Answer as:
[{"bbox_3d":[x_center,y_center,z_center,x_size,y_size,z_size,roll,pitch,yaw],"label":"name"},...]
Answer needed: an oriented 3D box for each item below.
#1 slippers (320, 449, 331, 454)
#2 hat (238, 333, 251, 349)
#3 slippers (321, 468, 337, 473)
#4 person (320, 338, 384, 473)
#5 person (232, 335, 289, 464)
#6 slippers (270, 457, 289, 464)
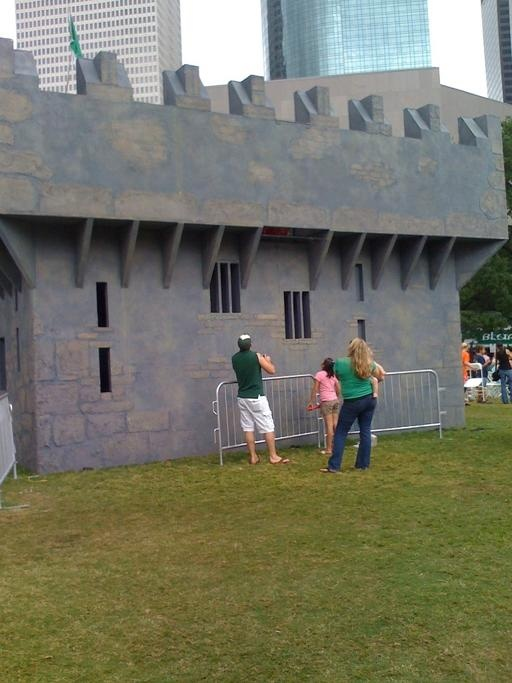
[{"bbox_3d":[1.122,1.773,13.496,0.117,0.051,0.067,4,-7,-9],"label":"slippers"},{"bbox_3d":[-0.172,0.009,12.416,0.163,0.213,0.216,4,20,8],"label":"hat"},{"bbox_3d":[1.003,1.787,11.599,0.201,0.056,0.076,6,0,14],"label":"slippers"},{"bbox_3d":[1.347,0.884,11.634,0.601,1.822,0.635,1,3,26],"label":"person"},{"bbox_3d":[0.004,0.855,12.484,0.706,1.900,0.403,-1,2,-2],"label":"person"},{"bbox_3d":[0.346,1.770,12.416,0.194,0.083,0.110,-3,0,-3],"label":"slippers"}]
